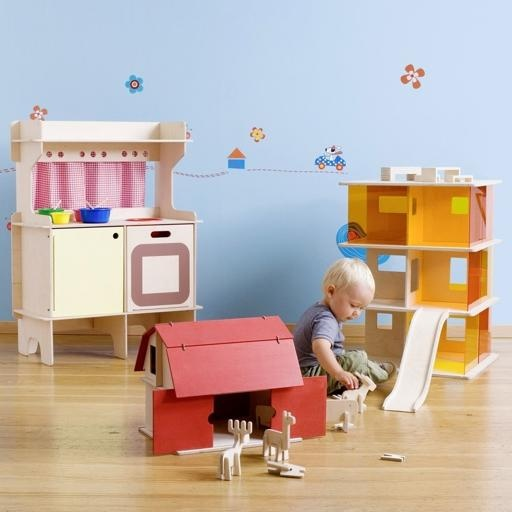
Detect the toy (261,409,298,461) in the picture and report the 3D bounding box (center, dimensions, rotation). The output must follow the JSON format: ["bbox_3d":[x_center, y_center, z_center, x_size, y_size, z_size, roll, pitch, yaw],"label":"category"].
[{"bbox_3d":[0.061,0.481,2.135,0.082,0.128,0.169,0,6,1],"label":"toy"}]

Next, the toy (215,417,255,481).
[{"bbox_3d":[-0.057,0.505,2.063,0.070,0.135,0.147,2,-1,24],"label":"toy"}]

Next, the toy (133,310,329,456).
[{"bbox_3d":[-0.098,0.357,2.321,0.550,0.316,0.337,-1,-10,-4],"label":"toy"}]

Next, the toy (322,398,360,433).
[{"bbox_3d":[0.256,0.485,2.381,0.111,0.088,0.038,3,-10,-3],"label":"toy"}]

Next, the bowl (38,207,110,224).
[{"bbox_3d":[-0.773,-0.172,3.348,0.291,0.066,0.300,0,6,0],"label":"bowl"}]
